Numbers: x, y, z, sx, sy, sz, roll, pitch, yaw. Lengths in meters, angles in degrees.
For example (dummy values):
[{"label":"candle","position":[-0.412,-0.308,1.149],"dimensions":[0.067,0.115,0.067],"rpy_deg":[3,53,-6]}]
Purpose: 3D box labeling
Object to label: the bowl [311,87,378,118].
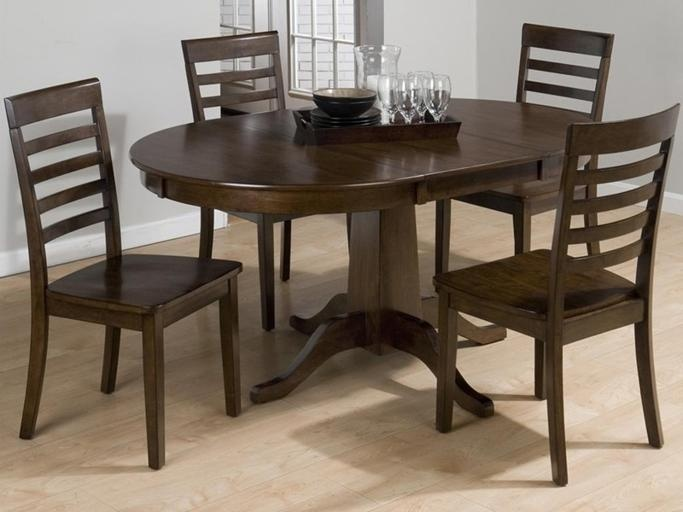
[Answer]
[{"label":"bowl","position":[0.011,-0.546,2.382],"dimensions":[0.205,0.055,0.174],"rpy_deg":[0,17,0]}]
